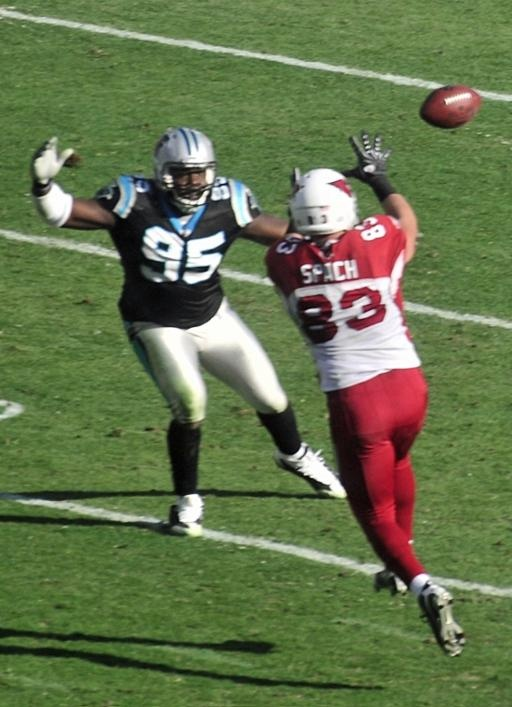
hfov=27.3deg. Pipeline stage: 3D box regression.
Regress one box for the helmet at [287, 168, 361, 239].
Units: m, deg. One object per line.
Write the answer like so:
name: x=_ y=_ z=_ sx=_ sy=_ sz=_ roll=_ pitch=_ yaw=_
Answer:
helmet: x=0.243 y=-0.570 z=3.982 sx=0.282 sy=0.204 sz=0.317 roll=-3 pitch=16 yaw=26

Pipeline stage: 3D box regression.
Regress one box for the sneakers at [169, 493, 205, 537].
sneakers: x=-0.295 y=0.695 z=4.549 sx=0.190 sy=0.163 sz=0.058 roll=-12 pitch=0 yaw=-15

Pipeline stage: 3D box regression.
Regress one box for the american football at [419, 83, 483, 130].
american football: x=1.023 y=-1.322 z=5.635 sx=0.250 sy=0.176 sz=0.321 roll=-24 pitch=0 yaw=37

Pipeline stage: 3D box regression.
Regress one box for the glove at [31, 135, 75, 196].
glove: x=-0.837 y=-0.762 z=4.296 sx=0.144 sy=0.241 sz=0.179 roll=12 pitch=28 yaw=-12
